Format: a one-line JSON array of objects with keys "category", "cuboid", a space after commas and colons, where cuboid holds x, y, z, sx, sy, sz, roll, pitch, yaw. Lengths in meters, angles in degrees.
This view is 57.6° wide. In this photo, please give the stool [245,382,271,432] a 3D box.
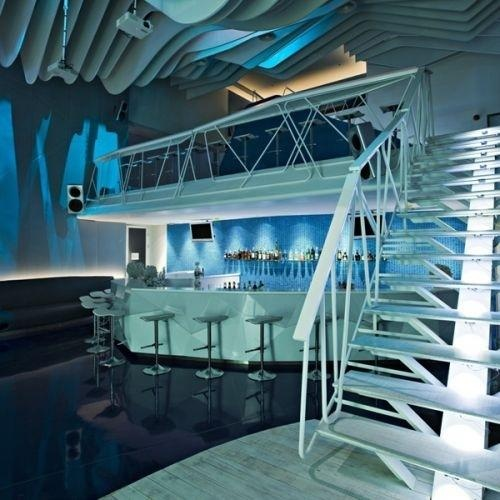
[{"category": "stool", "cuboid": [0.068, 1.408, 4.052, 0.190, 0.256, 0.237, 8, -13, -33]}]

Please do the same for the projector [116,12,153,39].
[{"category": "projector", "cuboid": [-1.319, -2.429, 4.958, 0.319, 0.068, 0.342, -4, -5, 38]}]

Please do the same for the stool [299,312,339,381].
[{"category": "stool", "cuboid": [0.668, 1.037, 4.680, 0.349, 0.677, 1.215, -1, 4, 9]}]

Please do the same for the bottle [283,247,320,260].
[{"category": "bottle", "cuboid": [0.771, 0.072, 6.850, 0.605, 0.190, 0.361, 0, 4, 24]}]

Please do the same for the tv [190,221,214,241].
[{"category": "tv", "cuboid": [-0.832, -0.329, 7.888, 0.409, 0.246, 0.055, 1, 5, 33]}]

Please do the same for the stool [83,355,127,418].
[{"category": "stool", "cuboid": [-1.352, 1.406, 4.400, 0.281, 0.371, 0.296, 5, 3, 32]}]

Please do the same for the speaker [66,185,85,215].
[{"category": "speaker", "cuboid": [-3.121, -0.898, 8.094, 0.287, 0.518, 0.311, -3, 5, -21]}]

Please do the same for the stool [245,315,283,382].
[{"category": "stool", "cuboid": [0.156, 1.037, 4.953, 0.399, 0.638, 0.596, -2, 4, 0]}]
